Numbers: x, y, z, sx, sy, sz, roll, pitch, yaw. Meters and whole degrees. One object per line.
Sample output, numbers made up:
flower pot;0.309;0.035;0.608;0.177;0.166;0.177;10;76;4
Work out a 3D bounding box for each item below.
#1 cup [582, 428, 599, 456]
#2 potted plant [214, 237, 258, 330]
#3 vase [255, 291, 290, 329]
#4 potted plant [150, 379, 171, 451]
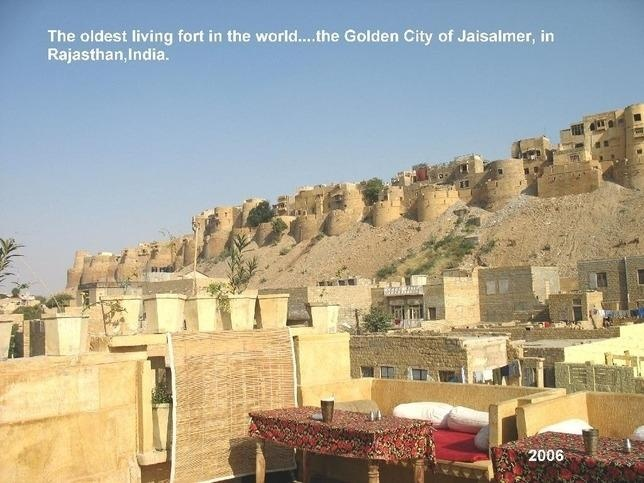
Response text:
cup;2.349;1.735;5.606;0.116;0.209;0.229;-4;-4;22
potted plant;-1.320;0.707;10.215;0.563;1.301;0.538;1;-2;-7
vase;-0.731;1.025;9.488;0.452;0.483;0.532;-2;-3;-9
potted plant;-2.030;2.203;8.125;0.232;0.755;0.418;-2;-3;-15
